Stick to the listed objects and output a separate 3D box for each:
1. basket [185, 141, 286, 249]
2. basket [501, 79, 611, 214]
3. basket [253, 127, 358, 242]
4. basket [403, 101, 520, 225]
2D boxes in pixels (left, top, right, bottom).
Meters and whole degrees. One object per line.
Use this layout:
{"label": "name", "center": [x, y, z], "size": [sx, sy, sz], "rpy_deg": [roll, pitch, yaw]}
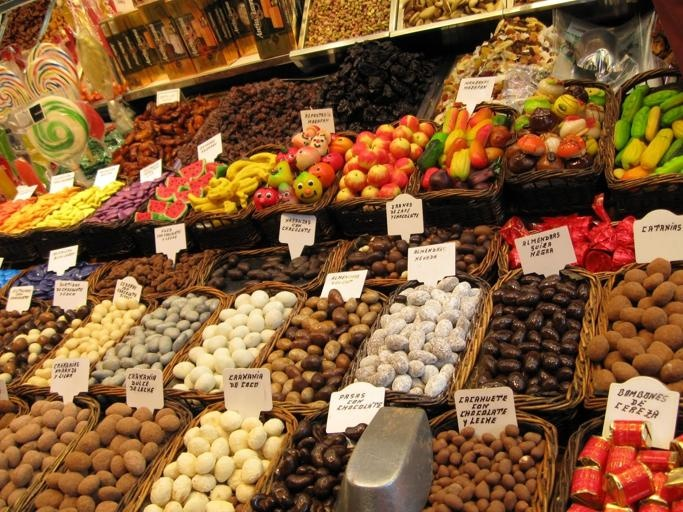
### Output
{"label": "basket", "center": [-0.785, -0.326, 3.691], "size": [0.430, 0.201, 0.520], "rpy_deg": [-15, 31, 22]}
{"label": "basket", "center": [1.289, -0.557, 2.907], "size": [0.605, 0.307, 0.770], "rpy_deg": [-4, 54, 34]}
{"label": "basket", "center": [-0.274, -0.516, 3.552], "size": [0.800, 0.779, 0.672], "rpy_deg": [-24, 26, -16]}
{"label": "basket", "center": [0.765, -0.472, 3.030], "size": [0.374, 0.178, 0.500], "rpy_deg": [-1, 50, 27]}
